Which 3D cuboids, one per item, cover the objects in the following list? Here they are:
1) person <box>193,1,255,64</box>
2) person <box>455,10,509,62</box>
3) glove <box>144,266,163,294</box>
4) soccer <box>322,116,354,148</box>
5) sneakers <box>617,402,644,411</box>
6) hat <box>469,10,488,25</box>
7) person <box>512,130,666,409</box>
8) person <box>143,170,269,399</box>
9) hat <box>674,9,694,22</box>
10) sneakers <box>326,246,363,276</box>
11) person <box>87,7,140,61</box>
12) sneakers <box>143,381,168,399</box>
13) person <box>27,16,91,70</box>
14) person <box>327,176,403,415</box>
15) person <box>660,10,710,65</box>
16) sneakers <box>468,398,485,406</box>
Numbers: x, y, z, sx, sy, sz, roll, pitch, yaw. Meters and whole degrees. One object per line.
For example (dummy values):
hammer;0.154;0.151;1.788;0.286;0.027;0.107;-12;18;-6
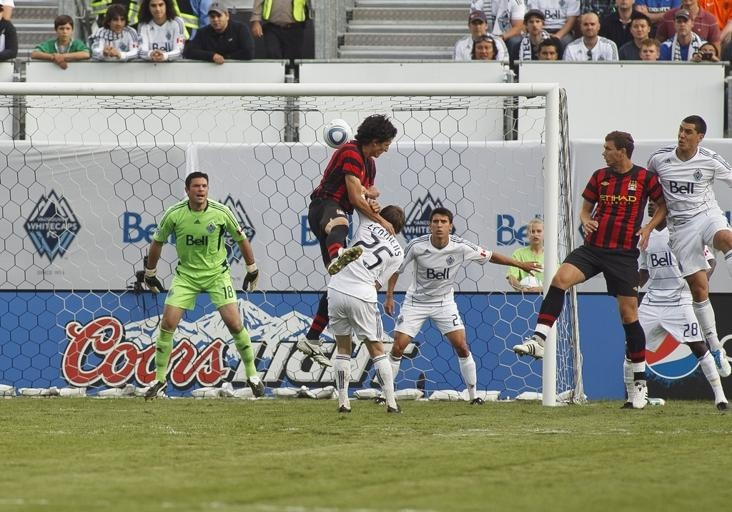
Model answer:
person;-1.815;-2.747;15.133;0.821;0.743;1.010;-1;9;-6
person;1.474;-2.678;15.581;0.784;0.777;0.446;-2;-13;23
glove;-2.342;0.240;13.427;0.125;0.267;0.364;-10;13;-42
soccer;-0.295;-1.281;12.736;0.262;0.300;0.297;2;18;3
sneakers;2.711;1.540;12.632;0.233;0.102;0.081;-3;-5;16
hat;1.420;-3.026;15.612;0.191;0.146;0.276;-4;-16;6
person;2.402;0.154;12.575;1.521;2.818;0.643;-2;9;-15
person;-1.779;0.338;13.146;1.230;2.433;0.702;0;9;-2
hat;4.039;-3.068;15.634;0.206;0.125;0.286;2;9;13
sneakers;-0.197;0.041;11.736;0.257;0.090;0.126;-41;19;13
person;-3.142;-2.761;15.303;0.546;0.683;0.811;0;-3;-13
sneakers;-2.301;1.451;13.311;0.352;0.132;0.151;-23;-19;40
person;-3.782;-2.623;15.072;0.657;0.687;0.839;0;4;-13
person;-0.012;0.567;12.089;0.814;2.018;0.654;-2;9;-16
person;4.032;-2.728;15.615;0.908;0.720;0.462;2;-3;11
sneakers;1.180;1.546;13.084;0.112;0.077;0.066;-6;5;-5
